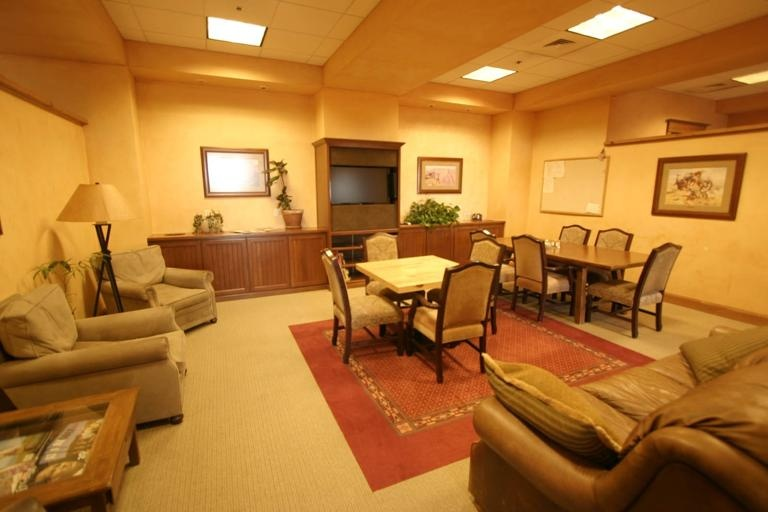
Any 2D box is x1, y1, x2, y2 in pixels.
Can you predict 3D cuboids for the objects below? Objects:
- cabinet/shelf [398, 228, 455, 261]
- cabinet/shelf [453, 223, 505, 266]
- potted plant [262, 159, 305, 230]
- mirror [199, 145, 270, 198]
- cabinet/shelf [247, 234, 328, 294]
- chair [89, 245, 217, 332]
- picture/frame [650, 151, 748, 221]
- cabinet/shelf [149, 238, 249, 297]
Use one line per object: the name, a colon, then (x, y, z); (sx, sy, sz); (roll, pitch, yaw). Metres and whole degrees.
cabinet/shelf: (0.661, -0.198, 8.626); (0.610, 0.527, 0.207); (-4, 8, -31)
cabinet/shelf: (1.370, -0.156, 7.699); (0.783, 0.684, 0.294); (-4, 10, -27)
potted plant: (-1.593, -0.956, 8.086); (0.495, 1.074, 0.390); (-4, 12, -19)
mirror: (-2.364, -1.302, 7.851); (0.881, 0.681, 0.062); (-4, 13, -22)
cabinet/shelf: (-1.546, 0.108, 7.818); (0.904, 0.624, 0.303); (-6, 12, -28)
chair: (-2.926, 0.413, 6.579); (1.174, 0.910, 0.994); (5, 15, 30)
picture/frame: (4.486, -0.988, 7.188); (0.074, 0.900, 0.989); (-10, 16, -39)
cabinet/shelf: (-2.658, 0.141, 7.142); (0.859, 0.592, 0.288); (-4, 10, -26)
